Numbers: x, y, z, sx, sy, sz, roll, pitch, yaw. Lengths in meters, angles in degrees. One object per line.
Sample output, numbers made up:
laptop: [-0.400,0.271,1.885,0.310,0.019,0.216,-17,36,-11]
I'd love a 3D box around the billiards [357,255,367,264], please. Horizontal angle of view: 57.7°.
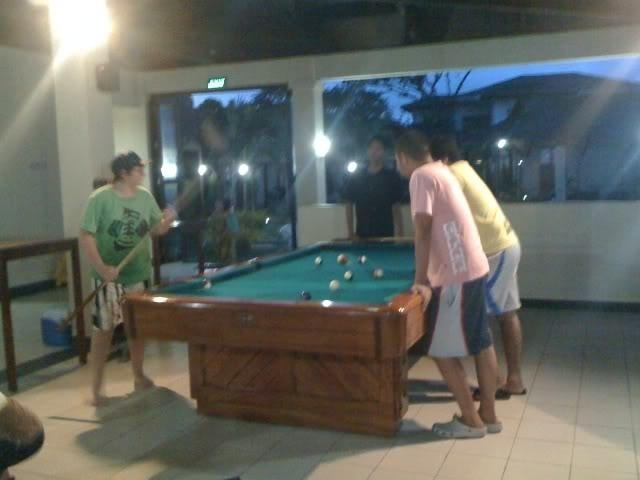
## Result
billiards: [0.360,0.168,4.811,0.058,0.064,0.057,-2,-22,2]

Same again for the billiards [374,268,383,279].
billiards: [0.430,0.245,4.268,0.055,0.049,0.066,-4,12,9]

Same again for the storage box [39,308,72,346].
storage box: [-2.362,0.799,5.161,0.317,0.379,0.326,0,3,-32]

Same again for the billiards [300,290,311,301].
billiards: [-0.093,0.348,3.670,0.042,0.053,0.056,14,34,26]

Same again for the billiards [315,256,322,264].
billiards: [-0.016,0.168,4.753,0.046,0.061,0.049,-9,15,-3]

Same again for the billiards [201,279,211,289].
billiards: [-0.780,0.299,3.949,0.047,0.052,0.054,-10,15,-3]

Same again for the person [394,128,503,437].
person: [0.821,0.269,3.646,0.683,1.898,0.386,0,9,8]

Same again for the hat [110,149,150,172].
hat: [-1.442,-0.558,4.352,0.212,0.124,0.157,-22,23,-8]

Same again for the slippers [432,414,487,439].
slippers: [0.871,1.186,3.675,0.254,0.116,0.147,1,-3,11]

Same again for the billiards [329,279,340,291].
billiards: [0.097,0.306,3.924,0.032,0.063,0.057,25,-24,-34]
